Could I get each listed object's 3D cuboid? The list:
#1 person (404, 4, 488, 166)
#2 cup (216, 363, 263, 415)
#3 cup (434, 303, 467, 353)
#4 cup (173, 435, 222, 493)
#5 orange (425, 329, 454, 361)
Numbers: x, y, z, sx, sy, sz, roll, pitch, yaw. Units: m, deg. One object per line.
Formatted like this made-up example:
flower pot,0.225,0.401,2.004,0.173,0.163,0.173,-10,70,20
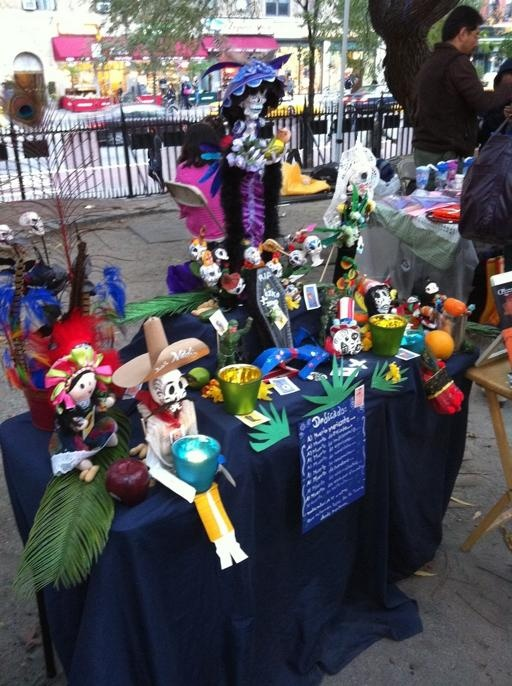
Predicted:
person,1.489,-1.975,3.711,0.510,1.118,0.481,5,25,16
cup,-0.040,0.139,1.398,0.182,0.128,0.171,1,-5,0
cup,0.754,-0.072,1.838,0.122,0.181,0.117,1,6,0
cup,-0.138,0.284,1.110,0.111,0.110,0.108,1,23,0
orange,0.665,0.010,1.803,0.114,0.106,0.125,4,58,5
